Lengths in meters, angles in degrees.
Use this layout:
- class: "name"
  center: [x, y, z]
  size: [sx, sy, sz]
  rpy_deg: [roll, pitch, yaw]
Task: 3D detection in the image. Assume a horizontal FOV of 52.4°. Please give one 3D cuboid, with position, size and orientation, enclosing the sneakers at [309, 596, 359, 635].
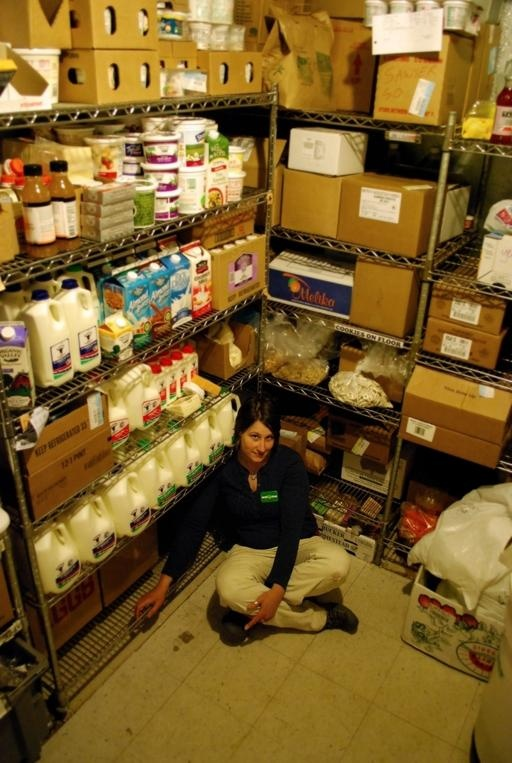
- class: "sneakers"
  center: [0.308, 0.921, 2.065]
  size: [0.165, 0.066, 0.114]
  rpy_deg: [25, 41, 0]

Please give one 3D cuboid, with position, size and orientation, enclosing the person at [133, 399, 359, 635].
- class: "person"
  center: [-0.056, 0.551, 2.039]
  size: [0.672, 0.721, 0.436]
  rpy_deg: [-6, 28, -5]

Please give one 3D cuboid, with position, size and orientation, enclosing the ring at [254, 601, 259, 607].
- class: "ring"
  center: [0.004, 0.781, 1.829]
  size: [0.009, 0.011, 0.026]
  rpy_deg: [1, 17, 5]

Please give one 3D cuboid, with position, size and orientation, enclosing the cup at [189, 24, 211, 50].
- class: "cup"
  center: [-0.171, -1.085, 1.653]
  size: [0.067, 0.077, 0.072]
  rpy_deg: [1, 46, -1]

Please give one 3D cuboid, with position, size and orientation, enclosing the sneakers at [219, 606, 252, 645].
- class: "sneakers"
  center: [-0.078, 0.910, 2.007]
  size: [0.078, 0.136, 0.142]
  rpy_deg: [16, 36, 17]
